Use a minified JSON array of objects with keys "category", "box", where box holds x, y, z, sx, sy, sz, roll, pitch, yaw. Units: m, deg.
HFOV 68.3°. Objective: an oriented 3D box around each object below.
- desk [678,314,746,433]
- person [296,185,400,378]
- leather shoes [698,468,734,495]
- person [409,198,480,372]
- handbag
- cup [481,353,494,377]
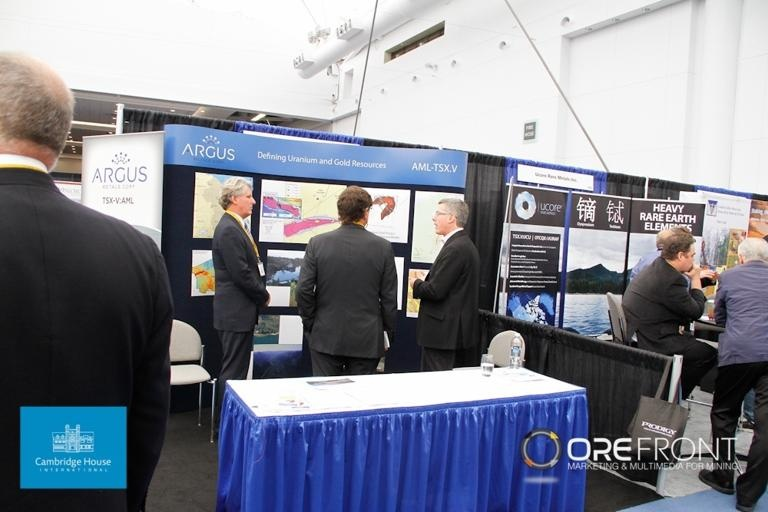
[{"category":"desk","box":[3.572,1.309,6.093,0.703,1.030,0.736,24,8,28]},{"category":"person","box":[-0.262,0.421,4.210,0.637,1.944,0.551,1,22,-6]},{"category":"leather shoes","box":[2.459,1.650,4.217,0.107,0.176,0.263,-1,6,-13]},{"category":"person","box":[0.520,0.260,4.660,0.560,1.441,0.352,6,9,6]},{"category":"handbag","box":[1.829,1.148,3.706,0.204,0.429,0.304,28,-16,-35]},{"category":"cup","box":[0.661,0.726,3.733,0.102,0.149,0.110,0,-4,0]}]
